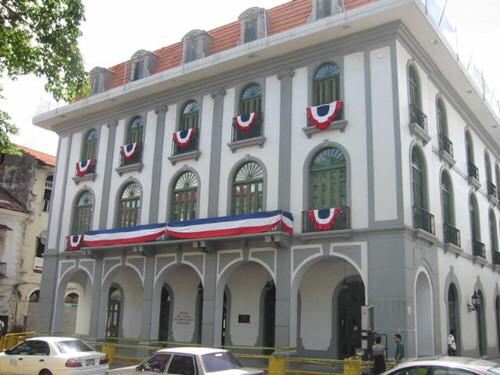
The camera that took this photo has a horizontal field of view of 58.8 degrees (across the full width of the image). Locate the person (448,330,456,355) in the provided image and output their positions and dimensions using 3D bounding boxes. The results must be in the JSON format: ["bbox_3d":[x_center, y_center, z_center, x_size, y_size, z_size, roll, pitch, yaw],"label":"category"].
[{"bbox_3d":[9.552,7.403,21.073,0.396,1.154,1.815,-8,-24,22],"label":"person"}]
